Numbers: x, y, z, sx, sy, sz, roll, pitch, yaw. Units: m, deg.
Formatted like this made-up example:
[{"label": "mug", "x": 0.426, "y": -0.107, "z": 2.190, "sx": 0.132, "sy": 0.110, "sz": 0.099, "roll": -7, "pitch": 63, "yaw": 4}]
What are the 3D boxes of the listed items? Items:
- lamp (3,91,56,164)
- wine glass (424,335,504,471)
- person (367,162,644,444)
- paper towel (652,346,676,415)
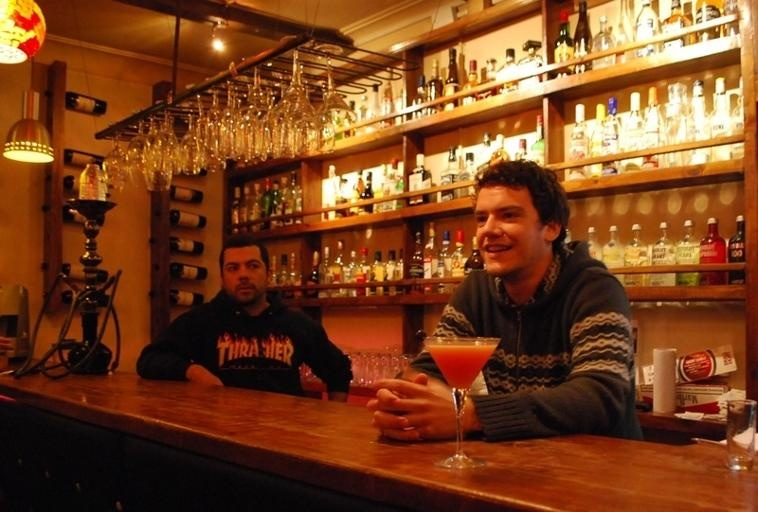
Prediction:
[{"label": "lamp", "x": -2.502, "y": -0.920, "z": 4.365, "sx": 0.278, "sy": 0.485, "sz": 0.663, "roll": -4, "pitch": 5, "yaw": -28}, {"label": "wine glass", "x": 0.256, "y": 0.429, "z": 1.894, "sx": 0.218, "sy": 0.364, "sz": 0.374, "roll": -1, "pitch": 4, "yaw": 15}, {"label": "person", "x": 0.561, "y": 0.157, "z": 2.402, "sx": 0.743, "sy": 1.074, "sz": 0.774, "roll": -3, "pitch": 4, "yaw": -15}, {"label": "paper towel", "x": 1.535, "y": 0.669, "z": 3.306, "sx": 0.124, "sy": 0.325, "sz": 0.125, "roll": -2, "pitch": -5, "yaw": 38}]
